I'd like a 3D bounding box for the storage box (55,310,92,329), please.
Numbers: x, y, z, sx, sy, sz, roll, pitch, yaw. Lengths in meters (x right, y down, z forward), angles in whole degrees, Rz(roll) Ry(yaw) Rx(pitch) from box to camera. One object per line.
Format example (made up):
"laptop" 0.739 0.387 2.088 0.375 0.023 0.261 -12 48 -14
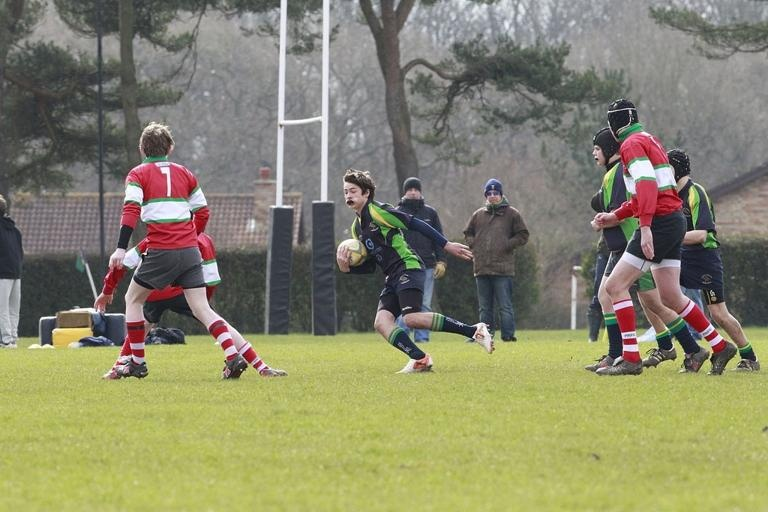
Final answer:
"storage box" -7.099 1.413 30.789 0.816 0.423 0.380 -4 -2 -12

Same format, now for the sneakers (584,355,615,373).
"sneakers" 4.180 2.089 26.276 0.629 0.250 0.250 -10 8 -24

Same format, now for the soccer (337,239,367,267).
"soccer" -0.572 -0.168 26.485 0.577 0.489 0.524 34 12 -4

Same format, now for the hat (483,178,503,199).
"hat" 2.547 -1.602 31.338 0.404 0.476 0.528 0 -1 3
